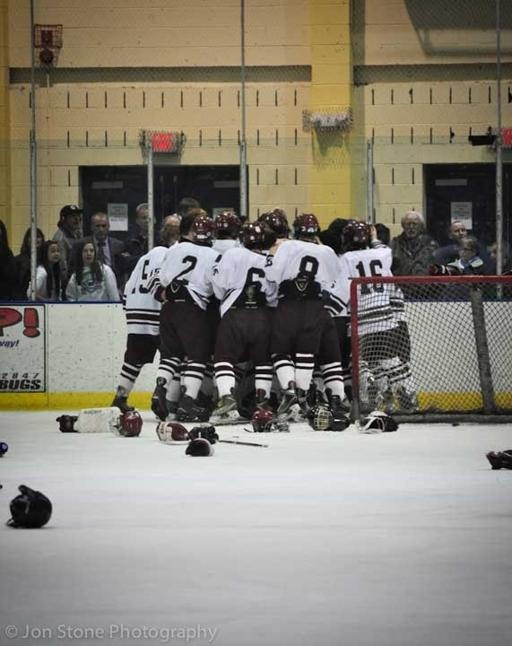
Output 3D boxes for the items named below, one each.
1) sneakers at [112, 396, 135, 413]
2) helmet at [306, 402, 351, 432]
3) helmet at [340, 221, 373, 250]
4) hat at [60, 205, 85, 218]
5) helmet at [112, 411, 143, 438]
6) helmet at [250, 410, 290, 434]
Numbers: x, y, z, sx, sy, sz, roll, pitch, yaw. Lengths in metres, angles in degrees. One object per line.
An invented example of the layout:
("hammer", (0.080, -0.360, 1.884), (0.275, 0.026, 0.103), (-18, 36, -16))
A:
("sneakers", (-0.968, 0.602, 7.922), (0.210, 0.154, 0.079), (1, 4, 0))
("helmet", (0.478, 0.619, 7.086), (0.212, 0.183, 0.399), (0, 2, 24))
("helmet", (0.726, -0.620, 7.914), (0.196, 0.224, 0.250), (-1, 2, 3))
("hat", (-1.499, -0.896, 8.871), (0.131, 0.077, 0.093), (-20, 2, 9))
("helmet", (-0.808, 0.656, 6.910), (0.157, 0.146, 0.263), (-1, 2, -14))
("helmet", (0.098, 0.645, 7.031), (0.199, 0.118, 0.136), (0, 1, -3))
